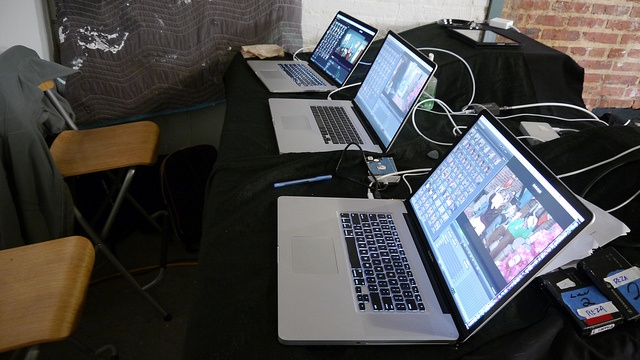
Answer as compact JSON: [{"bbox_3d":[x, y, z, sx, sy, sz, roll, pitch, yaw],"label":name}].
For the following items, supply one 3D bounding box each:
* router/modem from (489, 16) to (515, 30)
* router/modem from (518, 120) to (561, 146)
[{"bbox_3d":[1.141,-0.992,2.678,0.116,0.031,0.126,23,44,36],"label":"router/modem"},{"bbox_3d":[1.091,-0.237,2.105,0.145,0.032,0.143,-5,40,-9],"label":"router/modem"}]
